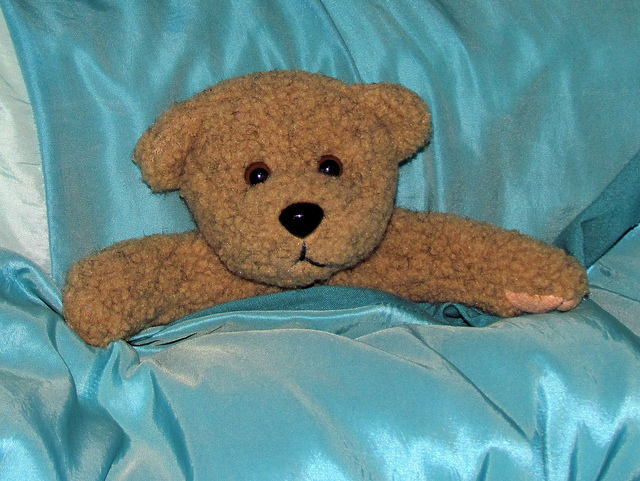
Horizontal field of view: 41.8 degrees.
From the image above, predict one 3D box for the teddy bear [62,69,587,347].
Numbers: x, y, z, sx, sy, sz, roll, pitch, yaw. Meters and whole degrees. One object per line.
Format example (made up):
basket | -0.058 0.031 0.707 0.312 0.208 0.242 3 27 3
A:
teddy bear | 0.003 -0.073 1.638 0.960 0.461 0.470 -1 -56 -4
